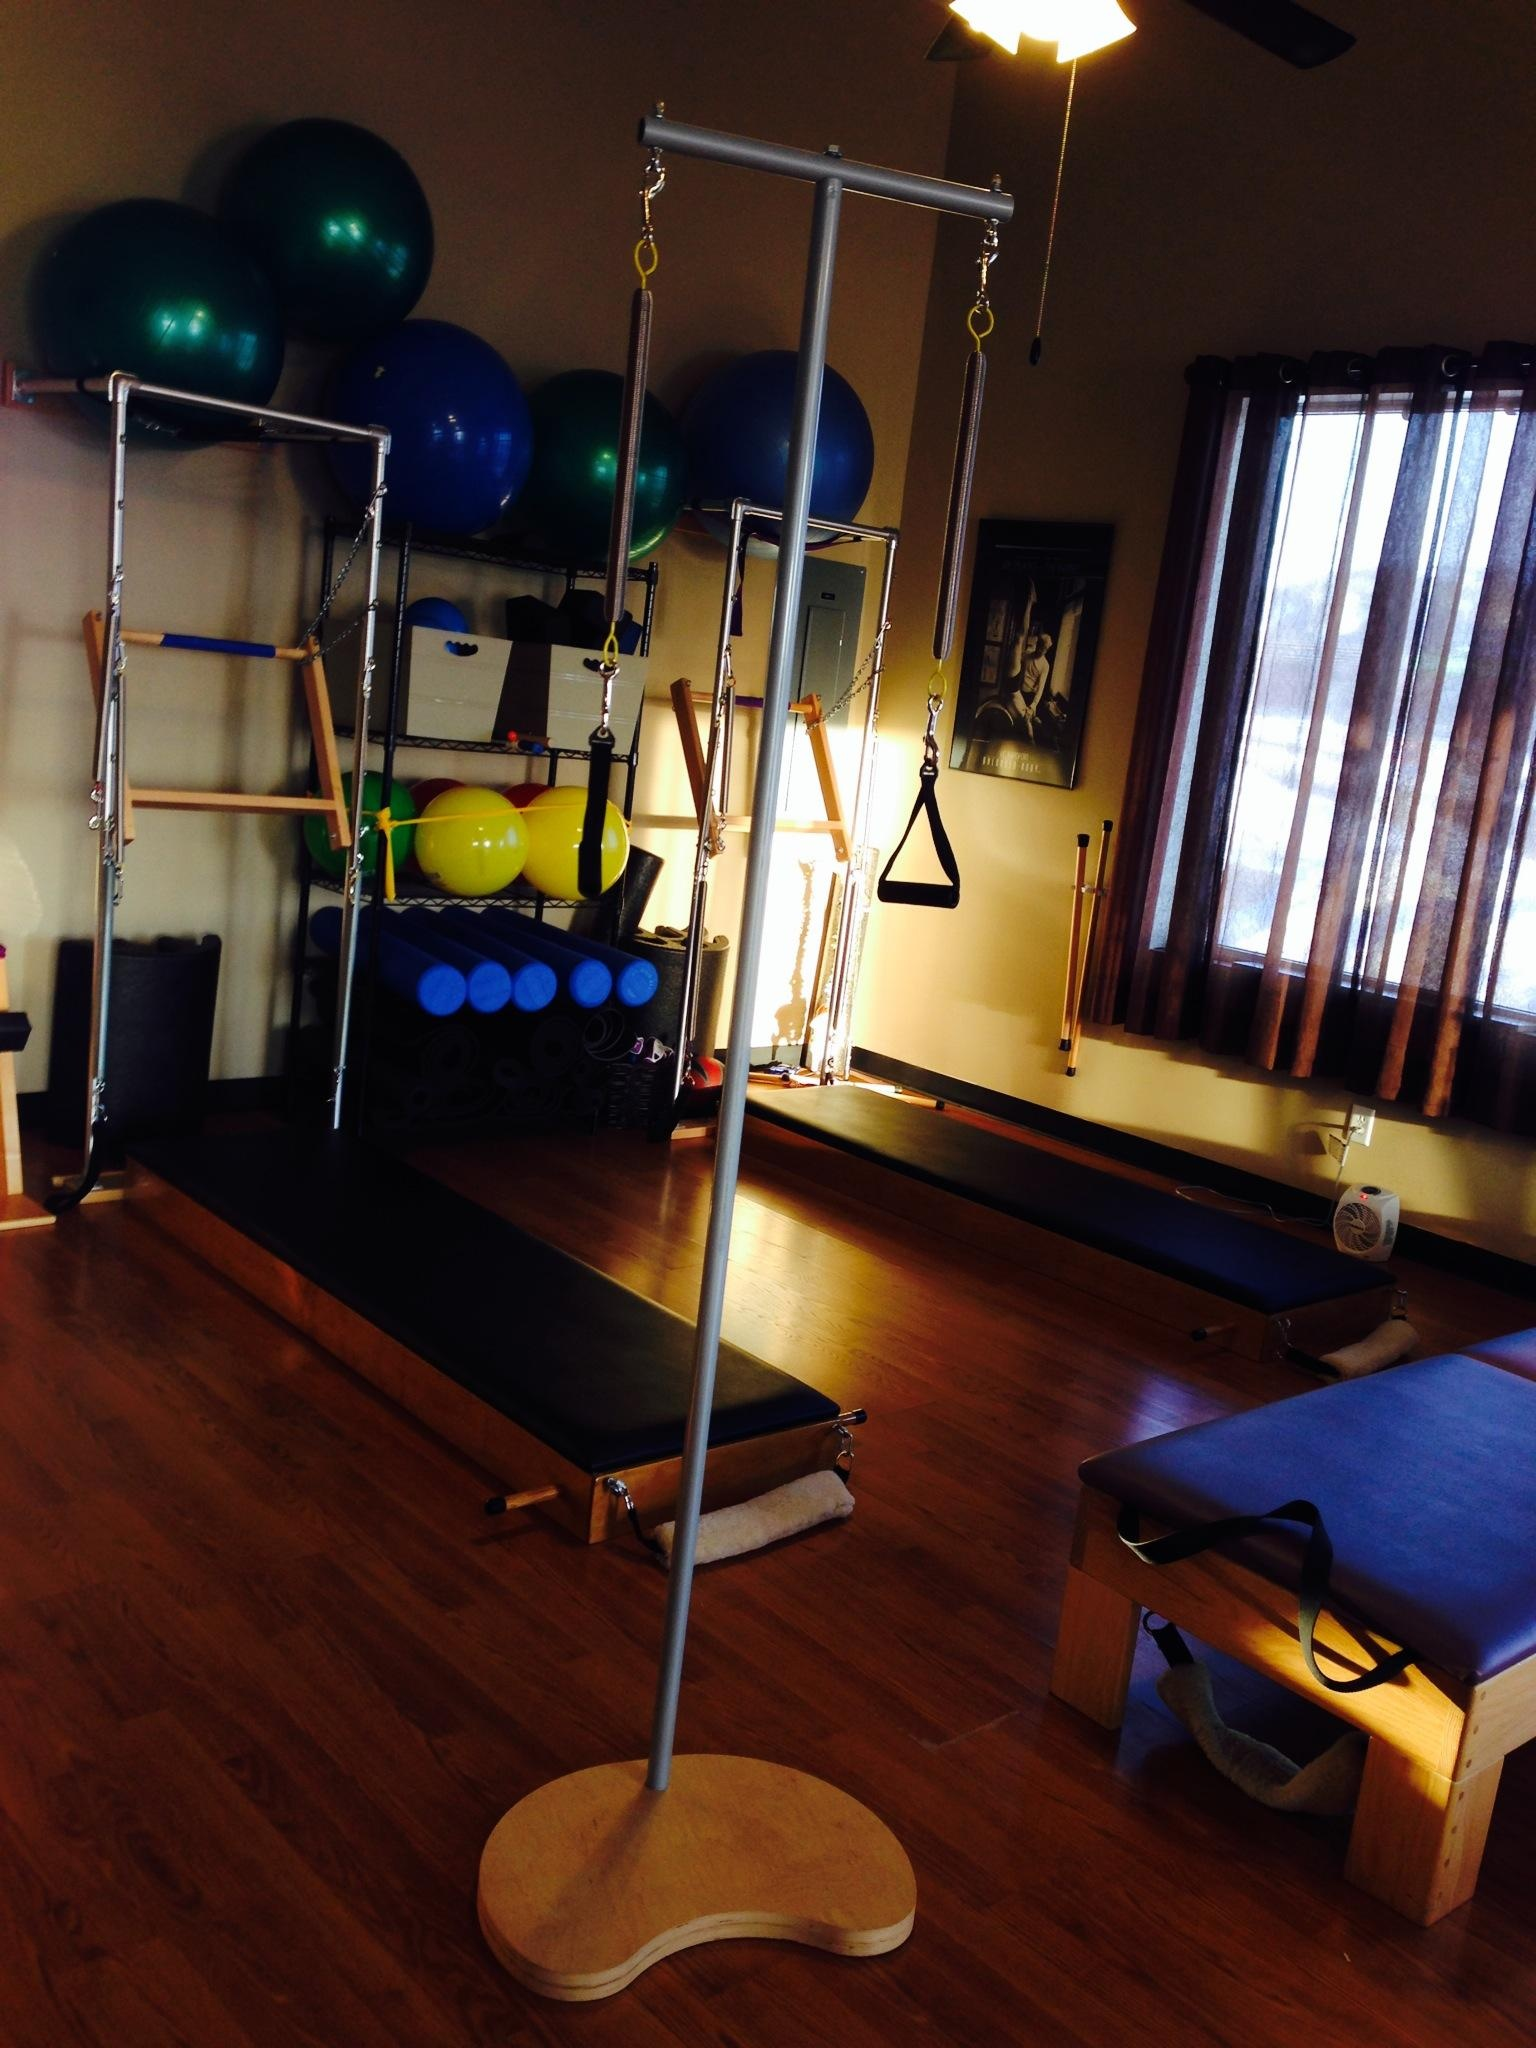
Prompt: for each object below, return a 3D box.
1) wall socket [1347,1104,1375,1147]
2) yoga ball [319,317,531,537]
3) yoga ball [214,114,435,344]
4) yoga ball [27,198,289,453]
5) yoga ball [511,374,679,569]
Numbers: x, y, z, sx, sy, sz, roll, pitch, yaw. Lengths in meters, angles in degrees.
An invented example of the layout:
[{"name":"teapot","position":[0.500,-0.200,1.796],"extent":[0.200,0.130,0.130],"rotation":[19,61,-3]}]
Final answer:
[{"name":"wall socket","position":[1.623,0.284,4.597],"extent":[0.024,0.090,0.101],"rotation":[6,-4,-34]},{"name":"yoga ball","position":[-0.842,-1.463,4.153],"extent":[0.614,0.541,0.595],"rotation":[0,22,0]},{"name":"yoga ball","position":[-1.072,-1.899,3.990],"extent":[0.483,0.491,0.303],"rotation":[-21,18,-15]},{"name":"yoga ball","position":[-1.327,-1.511,3.688],"extent":[0.527,0.570,0.515],"rotation":[4,20,-1]},{"name":"yoga ball","position":[-0.458,-1.524,4.564],"extent":[0.468,0.512,0.455],"rotation":[3,16,-1]}]
